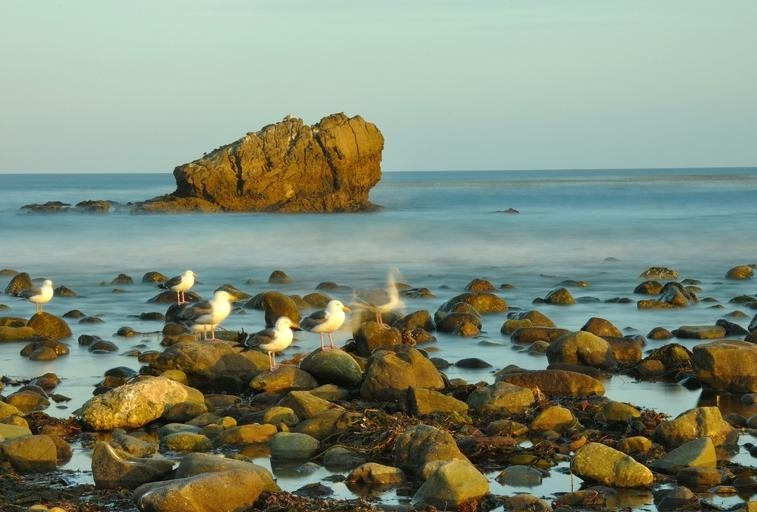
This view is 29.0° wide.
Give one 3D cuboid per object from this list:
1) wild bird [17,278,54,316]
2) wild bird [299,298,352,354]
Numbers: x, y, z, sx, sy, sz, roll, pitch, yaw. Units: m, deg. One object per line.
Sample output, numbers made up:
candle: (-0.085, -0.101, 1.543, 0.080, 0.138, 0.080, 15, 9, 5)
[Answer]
wild bird: (-11.834, 1.357, 50.368, 1.592, 1.041, 0.728, 4, 7, 15)
wild bird: (-1.671, 2.037, 43.668, 1.904, 1.290, 0.951, -4, -4, 38)
